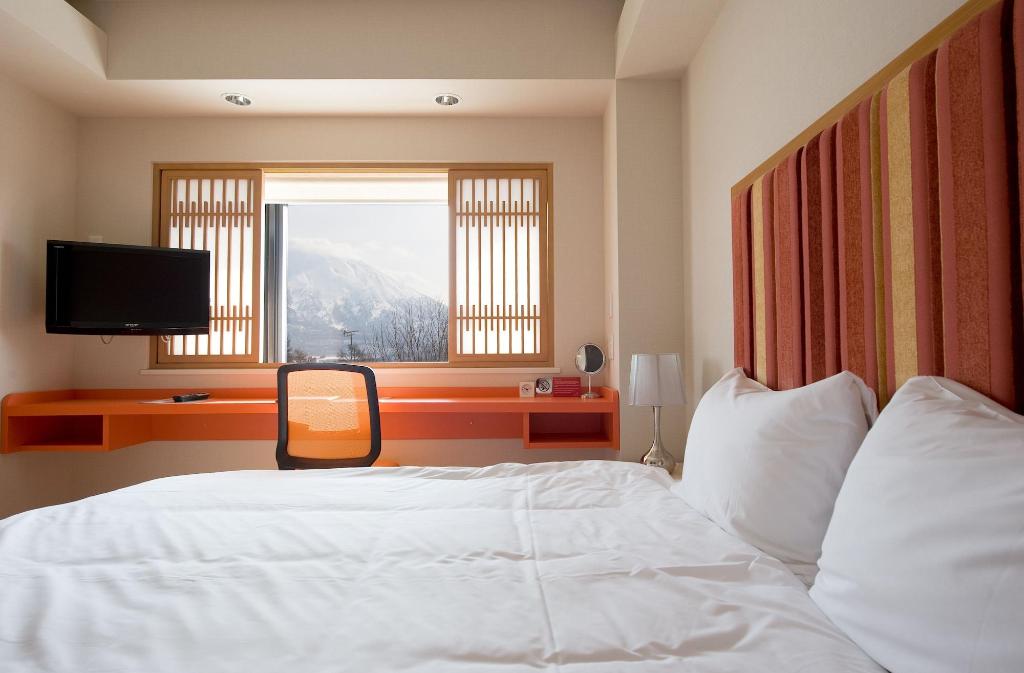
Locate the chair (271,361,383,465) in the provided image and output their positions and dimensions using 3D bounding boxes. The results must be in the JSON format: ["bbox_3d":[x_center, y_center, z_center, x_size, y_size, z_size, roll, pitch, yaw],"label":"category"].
[{"bbox_3d":[-0.897,0.386,3.834,0.570,0.723,0.528,0,0,-4],"label":"chair"}]

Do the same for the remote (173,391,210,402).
[{"bbox_3d":[-2.021,0.381,4.414,0.199,0.037,0.368,0,1,-20],"label":"remote"}]

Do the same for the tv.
[{"bbox_3d":[-2.399,-0.287,4.314,0.640,0.412,0.067,1,1,-23],"label":"tv"}]
